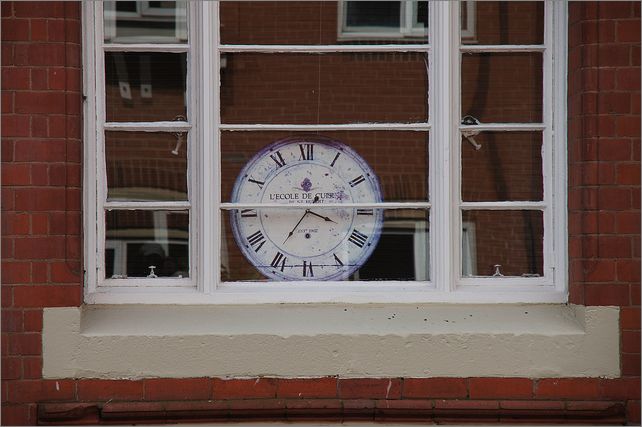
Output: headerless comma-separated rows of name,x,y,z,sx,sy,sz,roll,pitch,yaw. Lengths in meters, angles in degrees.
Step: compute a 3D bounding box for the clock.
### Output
clock,-0.092,-0.029,10.665,0.960,0.718,0.635,-1,-45,-3
